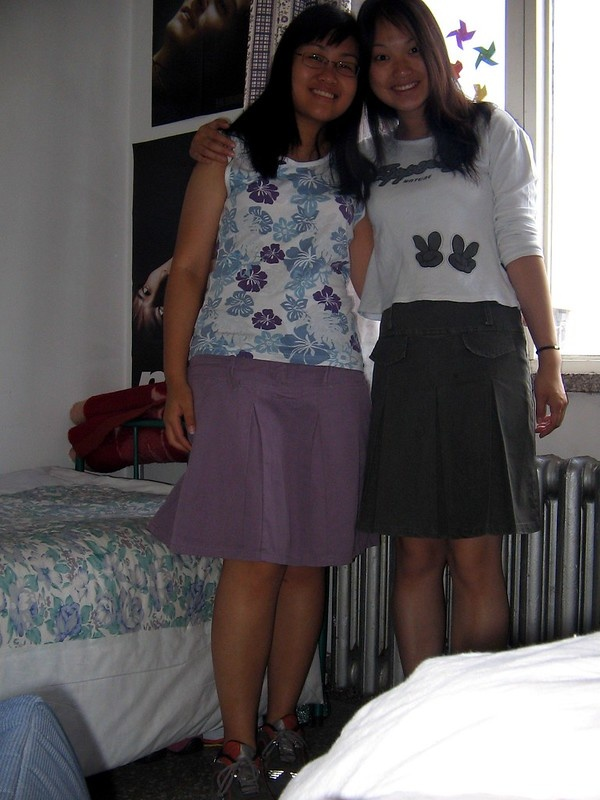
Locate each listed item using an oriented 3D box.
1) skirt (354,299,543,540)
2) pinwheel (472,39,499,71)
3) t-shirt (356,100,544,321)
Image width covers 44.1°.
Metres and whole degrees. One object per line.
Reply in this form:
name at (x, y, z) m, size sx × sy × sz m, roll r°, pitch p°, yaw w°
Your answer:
skirt at (0.234, 0.026, 1.201) m, size 0.281 × 0.373 × 0.147 m, roll 0°, pitch 6°, yaw 17°
pinwheel at (0.512, -0.958, 2.055) m, size 0.066 × 0.065 × 0.020 m, roll -45°, pitch -14°, yaw 35°
t-shirt at (0.232, -0.332, 1.304) m, size 0.385 × 0.353 × 0.202 m, roll 3°, pitch 8°, yaw 25°
